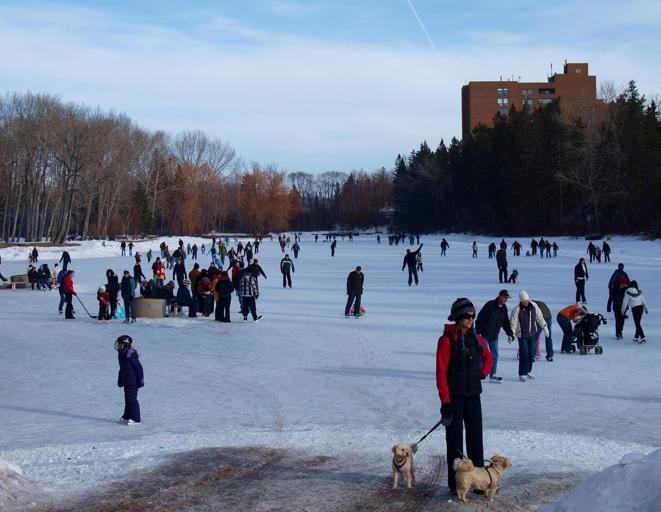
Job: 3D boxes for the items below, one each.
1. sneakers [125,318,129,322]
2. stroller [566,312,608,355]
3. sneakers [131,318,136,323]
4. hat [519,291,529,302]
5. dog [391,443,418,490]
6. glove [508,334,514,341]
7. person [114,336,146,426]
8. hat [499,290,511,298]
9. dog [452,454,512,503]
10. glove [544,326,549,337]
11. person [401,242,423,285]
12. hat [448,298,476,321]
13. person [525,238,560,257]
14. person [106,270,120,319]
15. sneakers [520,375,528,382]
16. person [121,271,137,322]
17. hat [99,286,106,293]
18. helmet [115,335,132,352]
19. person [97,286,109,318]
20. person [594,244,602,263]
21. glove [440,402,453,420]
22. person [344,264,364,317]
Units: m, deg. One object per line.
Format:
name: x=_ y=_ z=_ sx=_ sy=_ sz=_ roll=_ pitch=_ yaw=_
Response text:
sneakers: x=-6.041 y=1.920 z=29.543 sx=0.121 sy=0.135 sz=0.071 roll=0 pitch=-3 yaw=-4
stroller: x=6.644 y=1.899 z=25.131 sx=0.657 sy=1.231 sz=1.138 roll=0 pitch=10 yaw=0
sneakers: x=-5.850 y=1.937 z=29.628 sx=0.124 sy=0.139 sz=0.097 roll=-1 pitch=-7 yaw=-9
hat: x=4.466 y=0.929 z=22.715 sx=0.212 sy=0.274 sz=0.263 roll=-15 pitch=3 yaw=4
dog: x=1.328 y=3.749 z=17.765 sx=0.419 sy=0.823 sz=0.346 roll=0 pitch=9 yaw=4
glove: x=4.126 y=1.893 z=22.574 sx=0.144 sy=0.231 sz=0.077 roll=-2 pitch=4 yaw=12
person: x=-4.033 y=2.505 z=20.034 sx=0.502 sy=1.696 sz=0.685 roll=-3 pitch=10 yaw=-15
hat: x=3.918 y=0.898 z=22.413 sx=0.210 sy=0.211 sz=0.313 roll=0 pitch=12 yaw=-13
dog: x=2.713 y=3.958 z=17.572 sx=1.052 sy=0.831 sz=0.452 roll=0 pitch=-1 yaw=-4
glove: x=5.213 y=1.814 z=23.888 sx=0.063 sy=0.310 sz=0.086 roll=-10 pitch=-16 yaw=18
person: x=3.387 y=0.353 z=40.379 sx=0.850 sy=1.697 sz=0.345 roll=-5 pitch=18 yaw=13
hat: x=2.385 y=0.972 z=18.017 sx=0.355 sy=0.425 sz=0.467 roll=-4 pitch=-6 yaw=-44
person: x=13.982 y=-0.533 z=65.175 sx=1.514 sy=1.410 sz=0.329 roll=6 pitch=11 yaw=40
person: x=-6.589 y=1.198 z=30.138 sx=0.420 sy=1.476 sz=0.852 roll=-3 pitch=10 yaw=-13
sneakers: x=4.372 y=2.776 z=22.406 sx=0.174 sy=0.105 sz=0.211 roll=1 pitch=10 yaw=8
person: x=-6.013 y=1.210 z=29.573 sx=0.444 sy=1.505 sz=1.021 roll=-3 pitch=10 yaw=-12
hat: x=-6.804 y=1.010 z=29.619 sx=0.136 sy=0.192 sz=0.204 roll=0 pitch=37 yaw=15
helmet: x=-4.224 y=1.765 z=20.184 sx=0.337 sy=0.379 sz=0.315 roll=10 pitch=2 yaw=-1
person: x=-6.848 y=1.415 z=30.060 sx=0.361 sy=1.041 sz=1.253 roll=-3 pitch=10 yaw=-13
person: x=14.319 y=0.001 z=52.917 sx=0.247 sy=0.833 sz=1.459 roll=1 pitch=10 yaw=12
glove: x=2.071 y=2.786 z=17.628 sx=0.195 sy=0.288 sz=0.292 roll=1 pitch=-4 yaw=9
person: x=0.717 y=1.026 z=30.688 sx=0.529 sy=1.689 sz=1.443 roll=0 pitch=9 yaw=1
